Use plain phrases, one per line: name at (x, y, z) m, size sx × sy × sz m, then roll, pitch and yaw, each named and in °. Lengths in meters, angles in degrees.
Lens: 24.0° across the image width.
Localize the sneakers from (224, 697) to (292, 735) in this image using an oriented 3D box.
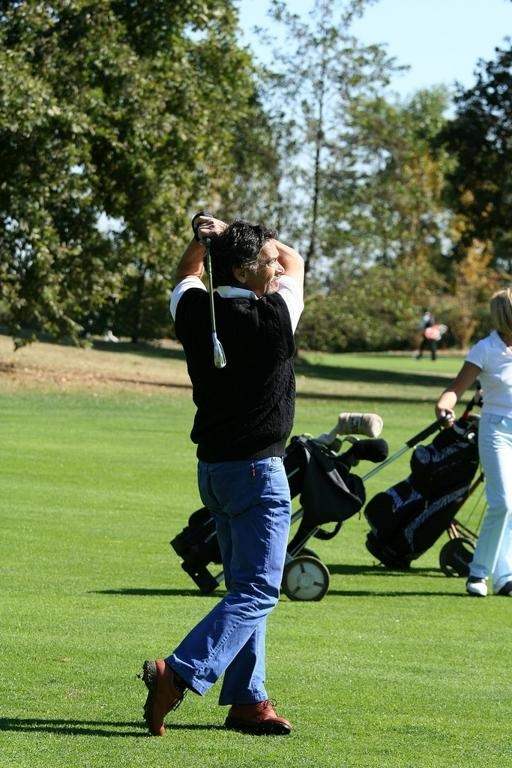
sneakers at (0.002, 1.241, 4.490) m, size 0.283 × 0.128 × 0.094 m, roll 0°, pitch -5°, yaw 6°

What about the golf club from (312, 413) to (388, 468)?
golf club at (0.478, 0.247, 6.094) m, size 0.388 × 0.216 × 0.174 m, roll 2°, pitch 18°, yaw 31°

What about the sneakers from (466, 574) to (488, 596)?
sneakers at (1.169, 1.086, 6.442) m, size 0.077 × 0.084 × 0.130 m, roll 1°, pitch -11°, yaw -10°

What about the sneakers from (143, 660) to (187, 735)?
sneakers at (-0.329, 1.099, 4.322) m, size 0.163 × 0.299 × 0.107 m, roll 2°, pitch 9°, yaw -3°

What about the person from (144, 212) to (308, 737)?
person at (-0.117, 0.337, 4.440) m, size 0.499 × 1.878 × 0.621 m, roll 5°, pitch 6°, yaw -5°
